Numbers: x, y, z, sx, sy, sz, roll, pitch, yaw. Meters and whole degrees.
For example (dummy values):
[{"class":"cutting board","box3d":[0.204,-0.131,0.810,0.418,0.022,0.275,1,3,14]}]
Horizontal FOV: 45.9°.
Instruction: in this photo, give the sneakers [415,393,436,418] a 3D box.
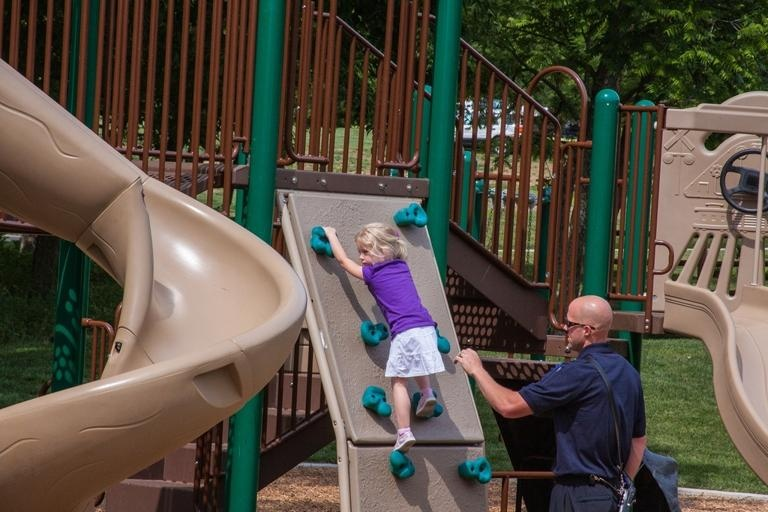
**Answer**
[{"class":"sneakers","box3d":[0.291,1.009,6.094,0.086,0.089,0.197,2,-44,-6]}]

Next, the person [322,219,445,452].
[{"class":"person","box3d":[0.038,0.539,6.174,0.741,1.520,0.478,1,1,4]}]

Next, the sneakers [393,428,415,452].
[{"class":"sneakers","box3d":[0.132,1.218,6.000,0.076,0.107,0.216,-12,-23,-23]}]
